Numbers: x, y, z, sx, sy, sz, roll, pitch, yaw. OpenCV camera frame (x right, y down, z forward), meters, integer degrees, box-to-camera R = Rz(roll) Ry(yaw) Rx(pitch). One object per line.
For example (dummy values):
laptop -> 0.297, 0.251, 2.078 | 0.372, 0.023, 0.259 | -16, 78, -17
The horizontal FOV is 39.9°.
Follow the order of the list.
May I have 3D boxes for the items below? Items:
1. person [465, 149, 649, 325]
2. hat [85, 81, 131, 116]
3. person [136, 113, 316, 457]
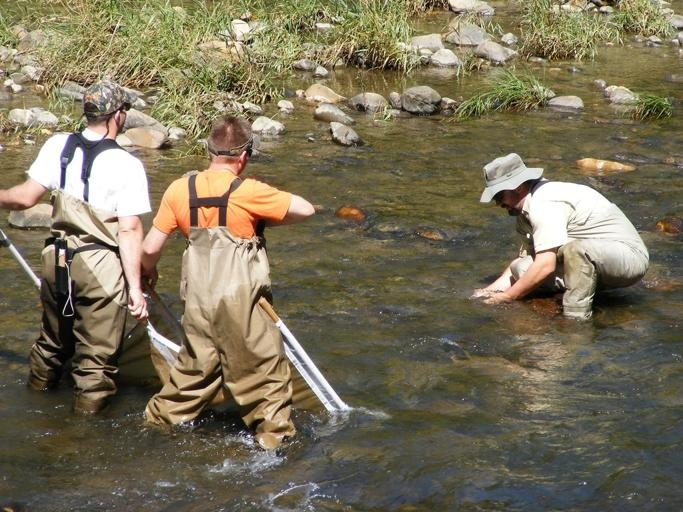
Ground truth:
person -> 2.107, -0.188, 8.867 | 1.584, 1.515, 0.629 | 4, 15, 9
hat -> -1.797, -1.210, 7.204 | 0.312, 0.177, 0.382 | 14, 33, 34
person -> -0.863, 0.210, 7.026 | 1.196, 2.471, 0.638 | 3, 15, 2
